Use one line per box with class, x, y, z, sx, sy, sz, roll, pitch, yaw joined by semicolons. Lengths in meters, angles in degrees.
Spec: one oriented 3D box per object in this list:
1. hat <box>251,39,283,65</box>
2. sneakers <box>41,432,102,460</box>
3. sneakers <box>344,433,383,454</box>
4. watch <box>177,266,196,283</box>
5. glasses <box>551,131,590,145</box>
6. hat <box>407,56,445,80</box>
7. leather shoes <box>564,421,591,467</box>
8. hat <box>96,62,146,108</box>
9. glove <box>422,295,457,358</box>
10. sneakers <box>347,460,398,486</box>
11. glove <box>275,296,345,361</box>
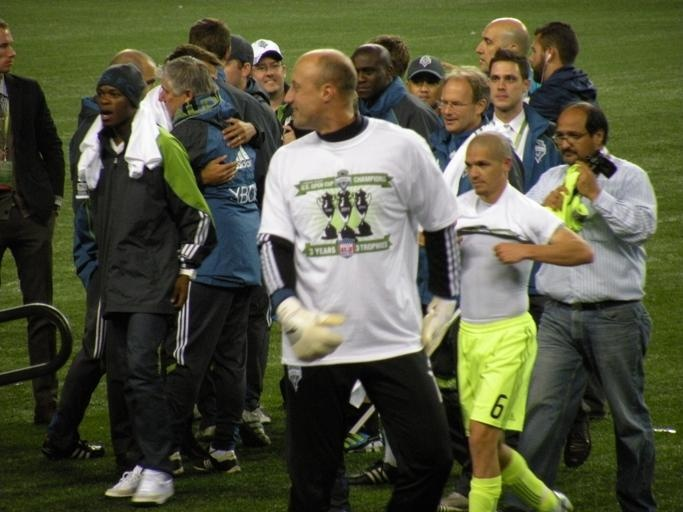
hat;-0.698;-1.890;9.986;0.305;0.213;0.430;-4;3;-7
sneakers;-1.859;1.296;7.527;0.450;0.174;0.153;-2;9;-19
sneakers;0.161;1.326;7.793;0.336;0.137;0.116;6;-22;-15
watch;-1.017;0.116;7.028;0.100;0.056;0.112;6;-3;-4
glasses;1.460;-0.724;6.804;0.176;0.051;0.184;0;-1;44
hat;0.727;-1.540;9.220;0.269;0.193;0.354;0;-4;9
leather shoes;1.674;1.295;7.576;0.128;0.339;0.134;4;-40;26
hat;-1.427;-1.063;7.045;0.232;0.254;0.291;-18;-27;6
glove;0.565;0.393;6.116;0.077;0.311;0.187;22;-13;-21
sneakers;0.224;1.419;7.236;0.388;0.164;0.126;0;-7;10
glove;-0.212;0.411;5.807;0.329;0.164;0.385;-24;-4;41
